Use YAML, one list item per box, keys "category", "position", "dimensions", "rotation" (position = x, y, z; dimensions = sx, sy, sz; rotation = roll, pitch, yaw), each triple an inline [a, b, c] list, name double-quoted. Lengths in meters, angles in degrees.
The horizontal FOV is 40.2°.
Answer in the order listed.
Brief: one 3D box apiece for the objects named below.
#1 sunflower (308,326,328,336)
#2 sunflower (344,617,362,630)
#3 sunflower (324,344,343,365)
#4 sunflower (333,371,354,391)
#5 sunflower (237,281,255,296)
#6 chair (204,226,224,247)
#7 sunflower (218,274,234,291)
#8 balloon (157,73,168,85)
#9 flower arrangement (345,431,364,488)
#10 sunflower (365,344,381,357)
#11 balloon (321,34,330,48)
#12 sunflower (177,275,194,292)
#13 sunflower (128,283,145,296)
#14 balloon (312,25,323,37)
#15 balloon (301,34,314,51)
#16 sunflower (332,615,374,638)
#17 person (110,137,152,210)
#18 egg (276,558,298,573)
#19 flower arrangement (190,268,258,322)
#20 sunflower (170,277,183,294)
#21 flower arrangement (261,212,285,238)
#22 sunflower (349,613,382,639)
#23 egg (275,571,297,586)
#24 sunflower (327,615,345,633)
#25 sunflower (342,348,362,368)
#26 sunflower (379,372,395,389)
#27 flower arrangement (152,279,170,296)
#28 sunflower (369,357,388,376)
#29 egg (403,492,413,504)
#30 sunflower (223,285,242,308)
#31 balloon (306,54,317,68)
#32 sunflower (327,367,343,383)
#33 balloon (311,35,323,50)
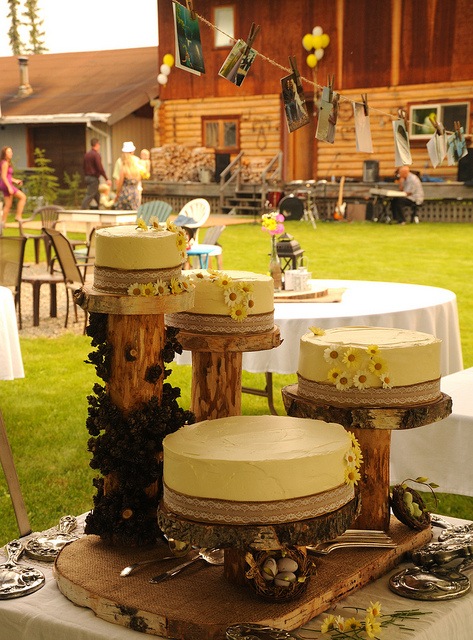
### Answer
- category: "sunflower"
  position: [0.224, 0.036, 1.723]
  dimensions: [0.041, 0.013, 0.036]
  rotation: [10, 23, -17]
- category: "sunflower"
  position: [0.224, 0.574, 1.218]
  dimensions: [0.027, 0.024, 0.010]
  rotation: [-8, -25, -22]
- category: "sunflower"
  position: [0.231, 0.081, 1.523]
  dimensions: [0.047, 0.037, 0.022]
  rotation: [-3, 1, 16]
- category: "sunflower"
  position: [0.255, 0.144, 1.517]
  dimensions: [0.043, 0.035, 0.014]
  rotation: [-4, 1, 11]
- category: "sunflower"
  position: [0.031, -0.090, 1.767]
  dimensions: [0.043, 0.037, 0.016]
  rotation: [7, -26, -35]
- category: "chair"
  position: [-0.287, -1.102, 8.534]
  dimensions: [0.256, 0.243, 0.566]
  rotation: [-4, 0, -2]
- category: "sunflower"
  position: [-0.027, -0.104, 1.752]
  dimensions: [0.043, 0.036, 0.015]
  rotation: [-1, -30, -19]
- category: "balloon"
  position: [-2.265, -7.533, 20.175]
  dimensions: [0.258, 0.291, 0.410]
  rotation: [-4, 0, 7]
- category: "flower arrangement"
  position: [0.241, 0.285, 1.300]
  dimensions: [0.022, 0.088, 0.062]
  rotation: [-5, -21, 30]
- category: "sunflower"
  position: [0.318, 0.071, 1.485]
  dimensions: [0.027, 0.022, 0.017]
  rotation: [-3, 1, 23]
- category: "balloon"
  position: [2.507, -7.827, 18.069]
  dimensions: [0.215, 0.263, 0.228]
  rotation: [-3, 1, 31]
- category: "sunflower"
  position: [-0.125, -0.090, 1.576]
  dimensions: [0.015, 0.035, 0.040]
  rotation: [-40, -42, 25]
- category: "sunflower"
  position: [-0.225, -0.069, 1.467]
  dimensions: [0.038, 0.026, 0.013]
  rotation: [-4, 1, -4]
- category: "balloon"
  position: [2.300, -8.104, 18.091]
  dimensions: [0.306, 0.269, 0.291]
  rotation: [-4, 1, 7]
- category: "balloon"
  position: [2.055, -7.797, 18.158]
  dimensions: [0.335, 0.335, 0.217]
  rotation: [-2, -10, 42]
- category: "sunflower"
  position: [0.212, 0.566, 1.203]
  dimensions: [0.080, 0.039, 0.041]
  rotation: [-8, -14, 0]
- category: "person"
  position: [-1.931, -2.489, 12.263]
  dimensions: [0.599, 1.755, 0.581]
  rotation: [2, 30, -7]
- category: "egg"
  position: [0.102, 0.485, 1.275]
  dimensions: [0.037, 0.018, 0.022]
  rotation: [-1, 5, 2]
- category: "flower arrangement"
  position: [-0.008, -0.063, 1.814]
  dimensions: [0.169, 0.092, 0.127]
  rotation: [37, 37, 18]
- category: "sunflower"
  position: [-0.140, -0.081, 1.524]
  dimensions: [0.019, 0.033, 0.046]
  rotation: [-4, 0, 31]
- category: "flower arrangement"
  position: [0.228, -0.584, 3.973]
  dimensions: [0.162, 0.134, 0.141]
  rotation: [0, -43, -5]
- category: "sunflower"
  position: [0.239, 0.562, 1.185]
  dimensions: [0.049, 0.026, 0.024]
  rotation: [-16, 42, 1]
- category: "egg"
  position: [0.098, 0.504, 1.259]
  dimensions: [0.032, 0.020, 0.023]
  rotation: [-11, -7, 5]
- category: "sunflower"
  position: [0.188, 0.565, 1.206]
  dimensions: [0.007, 0.021, 0.030]
  rotation: [20, 50, 8]
- category: "sunflower"
  position: [0.274, 0.087, 1.499]
  dimensions: [0.044, 0.040, 0.014]
  rotation: [-23, 11, 19]
- category: "sunflower"
  position: [0.352, 0.138, 1.492]
  dimensions: [0.040, 0.032, 0.014]
  rotation: [-4, -3, -18]
- category: "flower arrangement"
  position: [-0.170, -0.072, 1.480]
  dimensions: [0.041, 0.032, 0.015]
  rotation: [8, -24, -25]
- category: "sunflower"
  position: [0.315, 0.106, 1.473]
  dimensions: [0.045, 0.037, 0.015]
  rotation: [2, 9, 10]
- category: "egg"
  position: [0.455, 0.465, 1.702]
  dimensions: [0.023, 0.023, 0.023]
  rotation: [8, -13, -36]
- category: "sunflower"
  position: [-0.007, -0.065, 1.756]
  dimensions: [0.047, 0.052, 0.027]
  rotation: [-4, 1, -2]
- category: "balloon"
  position: [2.190, -7.338, 18.299]
  dimensions: [0.350, 0.297, 0.116]
  rotation: [-10, -3, 35]
- category: "sunflower"
  position: [0.236, 0.128, 1.528]
  dimensions: [0.037, 0.035, 0.014]
  rotation: [-37, -17, -9]
- category: "balloon"
  position: [2.294, -7.742, 18.019]
  dimensions: [0.358, 0.352, 0.325]
  rotation: [-3, 11, -15]
